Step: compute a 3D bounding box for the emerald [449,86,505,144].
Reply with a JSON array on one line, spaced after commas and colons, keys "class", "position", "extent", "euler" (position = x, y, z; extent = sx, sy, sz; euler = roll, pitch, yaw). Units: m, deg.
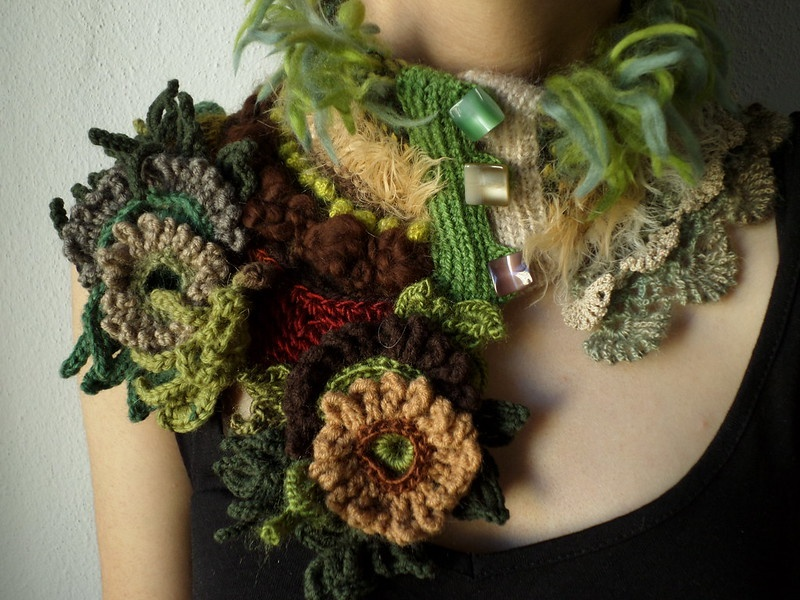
[{"class": "emerald", "position": [0.133, -0.319, 1.581], "extent": [0.086, 0.067, 0.086], "euler": [-41, -1, -25]}]
